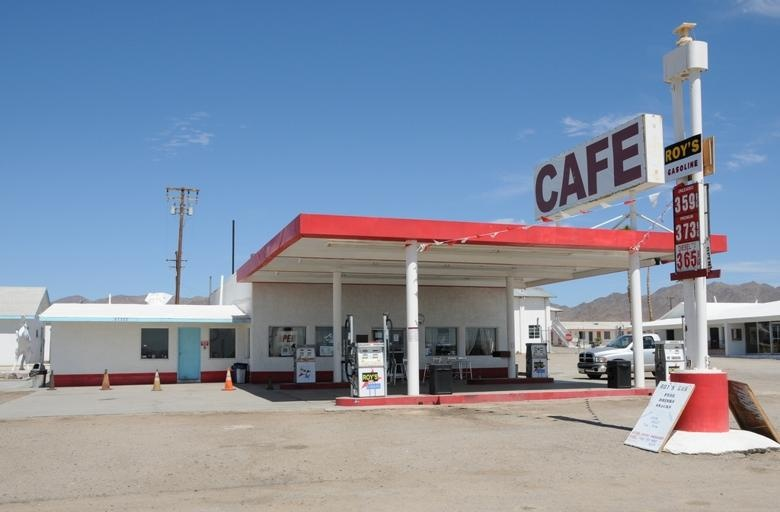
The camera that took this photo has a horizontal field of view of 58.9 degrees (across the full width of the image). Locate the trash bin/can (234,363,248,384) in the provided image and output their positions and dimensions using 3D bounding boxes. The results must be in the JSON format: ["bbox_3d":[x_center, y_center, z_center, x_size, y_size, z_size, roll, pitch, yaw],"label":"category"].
[{"bbox_3d":[-6.287,4.965,29.271,0.796,0.860,0.740,2,-11,-15],"label":"trash bin/can"}]

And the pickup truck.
[{"bbox_3d":[10.517,4.393,30.509,4.399,1.486,1.901,3,-9,-17],"label":"pickup truck"}]

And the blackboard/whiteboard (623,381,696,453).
[{"bbox_3d":[5.565,3.310,14.331,1.181,1.371,0.871,3,-10,-16],"label":"blackboard/whiteboard"}]

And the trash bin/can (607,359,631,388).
[{"bbox_3d":[7.928,4.100,23.953,0.732,0.908,0.702,-4,-10,20],"label":"trash bin/can"}]
